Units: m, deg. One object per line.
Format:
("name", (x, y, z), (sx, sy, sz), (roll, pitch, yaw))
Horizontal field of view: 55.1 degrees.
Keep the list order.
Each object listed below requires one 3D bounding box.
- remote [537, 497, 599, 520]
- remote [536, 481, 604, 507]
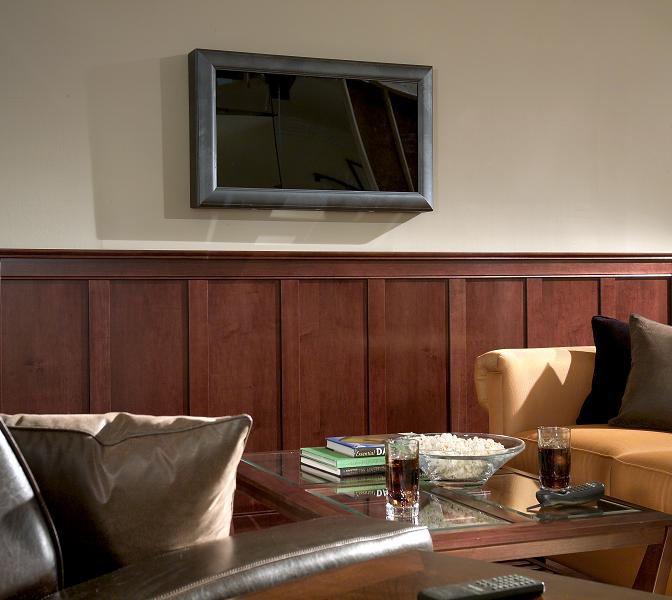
("remote", (0.531, 0.450, 1.456), (0.140, 0.052, 0.052), (-4, 2, -13))
("remote", (0.548, 0.451, 1.508), (0.128, 0.047, 0.070), (-3, -5, -11))
